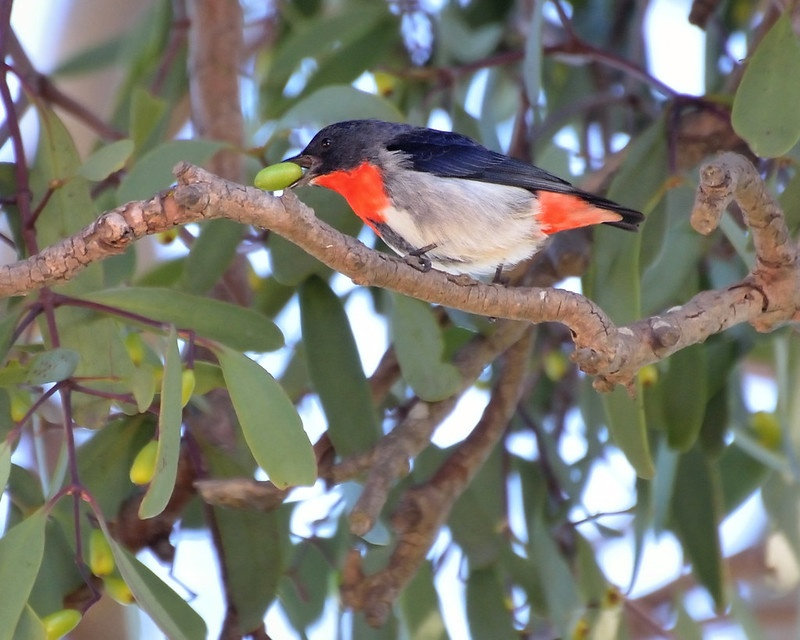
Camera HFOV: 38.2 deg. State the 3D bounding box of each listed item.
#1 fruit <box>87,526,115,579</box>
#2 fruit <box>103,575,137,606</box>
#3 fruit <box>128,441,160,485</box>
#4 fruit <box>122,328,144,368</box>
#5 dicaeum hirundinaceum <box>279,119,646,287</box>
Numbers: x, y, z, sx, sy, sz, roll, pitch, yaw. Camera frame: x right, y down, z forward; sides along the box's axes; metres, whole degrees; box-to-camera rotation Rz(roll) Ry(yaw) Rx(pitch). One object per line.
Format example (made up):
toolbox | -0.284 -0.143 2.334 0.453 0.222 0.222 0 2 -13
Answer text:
fruit | -0.878 0.684 3.384 0.091 0.153 0.089 -4 -36 -2
fruit | -0.818 0.795 3.360 0.092 0.083 0.164 3 -40 -13
fruit | -0.726 0.444 3.269 0.056 0.107 0.050 5 -67 10
fruit | -0.868 0.098 3.812 0.029 0.143 0.079 -19 -8 32
dicaeum hirundinaceum | 0.211 -0.375 3.853 1.174 0.599 0.444 -1 -16 3
